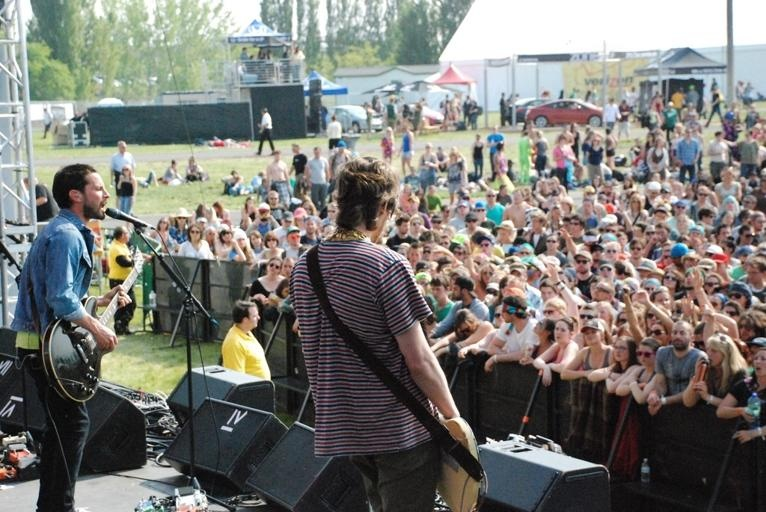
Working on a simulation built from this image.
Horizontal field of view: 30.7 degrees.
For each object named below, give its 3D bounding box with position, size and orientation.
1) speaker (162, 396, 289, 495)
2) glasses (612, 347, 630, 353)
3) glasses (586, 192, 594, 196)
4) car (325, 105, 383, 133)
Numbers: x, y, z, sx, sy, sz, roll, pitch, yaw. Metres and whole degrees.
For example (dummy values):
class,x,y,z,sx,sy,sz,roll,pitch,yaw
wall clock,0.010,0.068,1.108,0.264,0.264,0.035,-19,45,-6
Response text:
class,x,y,z,sx,sy,sz,roll,pitch,yaw
speaker,-2.463,2.912,21.586,1.478,1.202,1.586,-26,14,-39
glasses,3.720,1.479,21.767,0.213,0.072,0.047,2,10,17
glasses,4.290,-1.281,28.869,0.112,0.062,0.157,1,-1,-1
car,-0.973,-4.714,48.053,1.687,0.767,0.876,2,7,33
